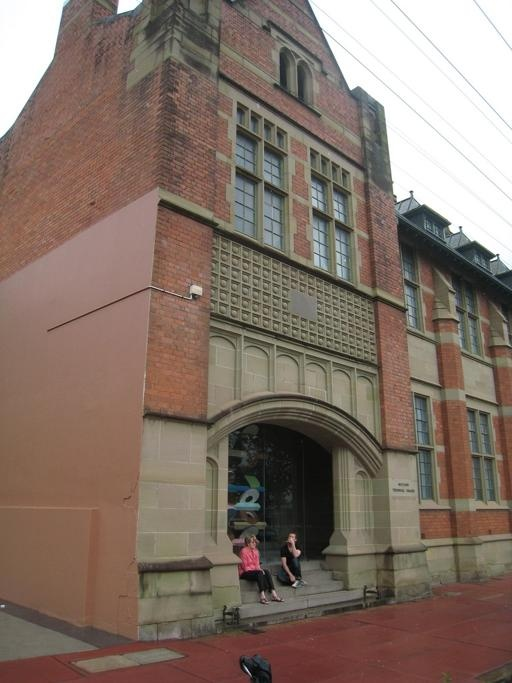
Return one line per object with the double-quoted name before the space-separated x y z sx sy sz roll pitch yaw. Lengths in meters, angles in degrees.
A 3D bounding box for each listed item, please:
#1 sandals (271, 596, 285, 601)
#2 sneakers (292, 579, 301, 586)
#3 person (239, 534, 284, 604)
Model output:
"sandals" 0.362 4.142 8.825 0.228 0.086 0.074 6 -13 -33
"sneakers" 0.727 4.293 9.659 0.052 0.119 0.223 -18 -26 33
"person" 0.028 3.699 8.879 0.358 1.019 0.669 -22 -29 40
